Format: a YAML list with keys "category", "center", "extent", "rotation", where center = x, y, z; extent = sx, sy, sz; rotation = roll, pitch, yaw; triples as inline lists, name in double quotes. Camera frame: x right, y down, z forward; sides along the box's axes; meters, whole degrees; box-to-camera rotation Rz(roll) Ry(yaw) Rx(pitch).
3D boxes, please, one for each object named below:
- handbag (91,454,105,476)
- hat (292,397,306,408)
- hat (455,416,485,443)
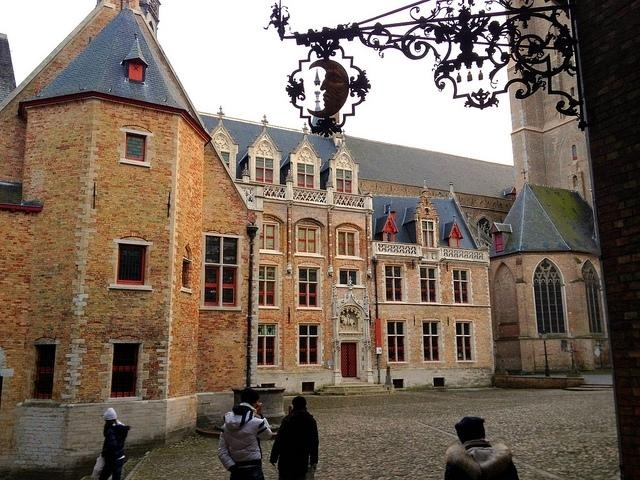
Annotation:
- category: "handbag"
  center: [-4.663, 4.742, 12.921]
  extent: [0.219, 0.442, 0.712]
  rotation: [4, -16, -19]
- category: "hat"
  center: [-0.356, 2.755, 10.429]
  extent: [0.215, 0.244, 0.261]
  rotation: [3, 5, 1]
- category: "hat"
  center: [1.865, 2.420, 7.903]
  extent: [0.336, 0.350, 0.397]
  rotation: [8, -34, -13]
